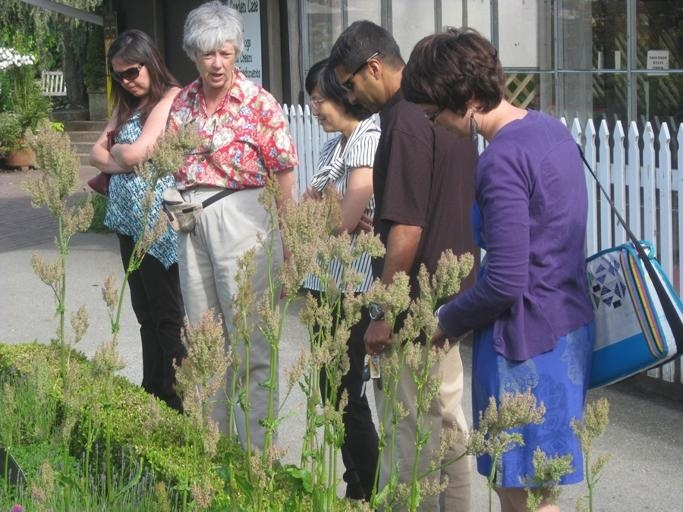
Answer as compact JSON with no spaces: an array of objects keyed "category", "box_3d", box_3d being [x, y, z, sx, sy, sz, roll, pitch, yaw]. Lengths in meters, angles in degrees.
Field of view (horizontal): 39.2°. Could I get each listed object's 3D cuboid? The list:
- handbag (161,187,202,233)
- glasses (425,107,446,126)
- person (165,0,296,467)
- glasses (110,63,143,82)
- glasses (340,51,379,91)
[{"category":"handbag","box_3d":[-0.914,-0.250,5.453,0.176,0.249,0.110,-40,2,-6]},{"category":"glasses","box_3d":[0.423,-0.637,4.369,0.019,0.084,0.068,-10,21,-26]},{"category":"person","box_3d":[-0.600,-0.149,5.292,0.718,2.585,1.566,0,3,-11]},{"category":"glasses","box_3d":[-1.348,-1.144,6.040,0.119,0.051,0.133,-10,23,29]},{"category":"glasses","box_3d":[0.087,-0.928,4.832,0.158,0.043,0.156,-47,4,18]}]
